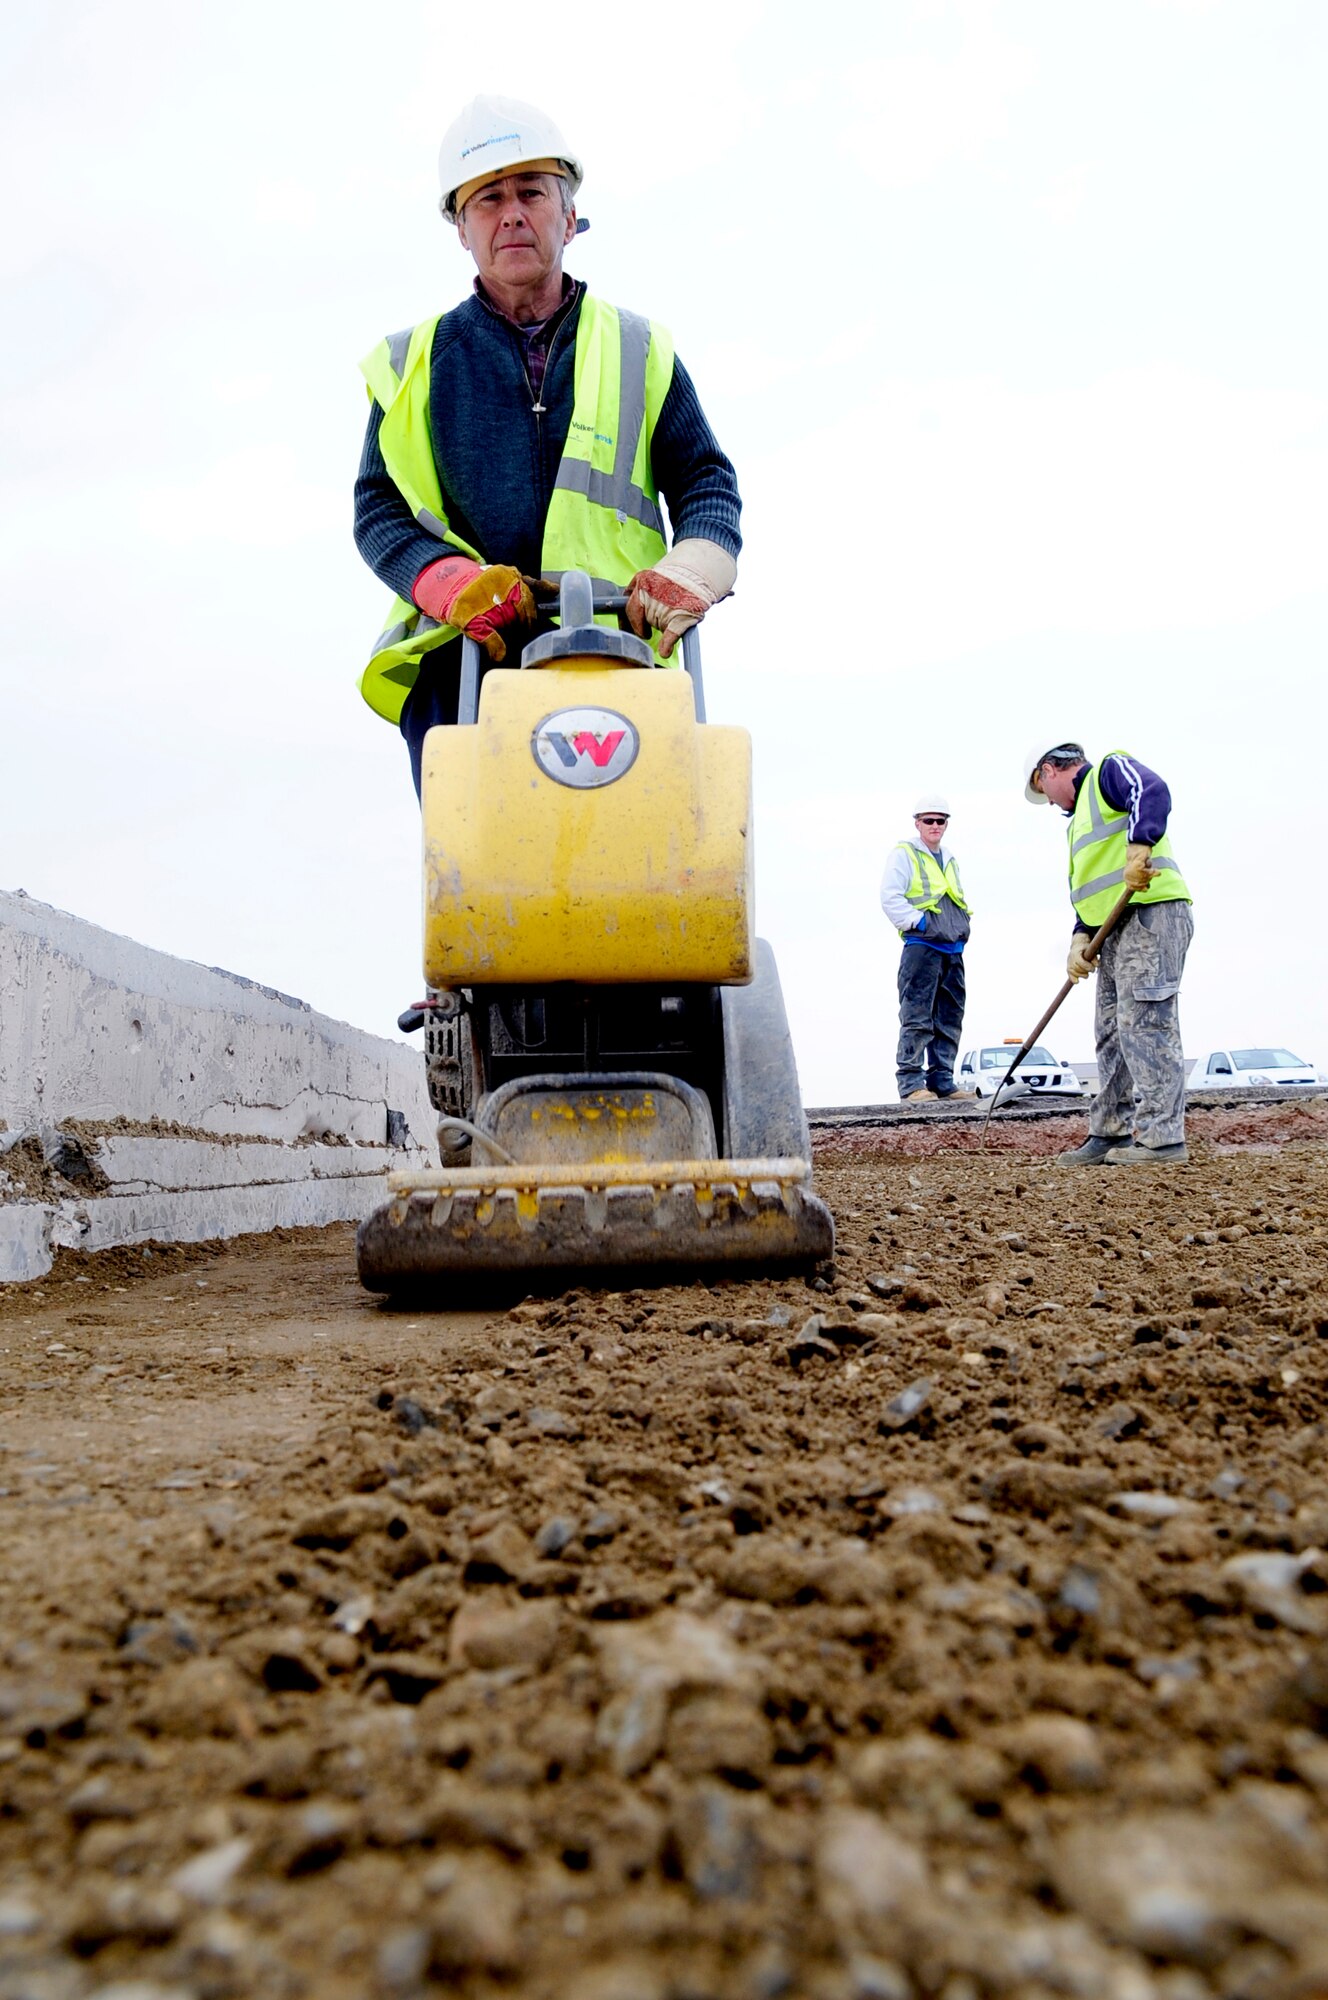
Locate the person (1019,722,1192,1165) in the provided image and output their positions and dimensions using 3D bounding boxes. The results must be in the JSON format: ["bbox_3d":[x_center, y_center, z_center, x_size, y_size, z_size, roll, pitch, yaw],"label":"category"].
[{"bbox_3d":[1.794,-0.152,6.367,0.410,1.543,0.853,-2,0,7],"label":"person"}]

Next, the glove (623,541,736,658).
[{"bbox_3d":[0.030,-0.834,3.364,0.190,0.239,0.255,-2,0,12],"label":"glove"}]

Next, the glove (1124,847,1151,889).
[{"bbox_3d":[1.741,-0.484,6.078,0.109,0.068,0.134,-3,39,9],"label":"glove"}]

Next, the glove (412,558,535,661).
[{"bbox_3d":[-0.389,-0.805,3.354,0.224,0.209,0.285,-1,0,-8],"label":"glove"}]

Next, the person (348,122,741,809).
[{"bbox_3d":[-0.244,-1.190,3.491,0.815,1.437,0.567,-2,0,-9],"label":"person"}]

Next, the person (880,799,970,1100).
[{"bbox_3d":[1.613,-0.287,10.136,0.472,1.780,0.943,-2,0,10],"label":"person"}]

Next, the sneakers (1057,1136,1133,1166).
[{"bbox_3d":[1.733,0.605,6.620,0.302,0.118,0.104,1,-12,-1],"label":"sneakers"}]

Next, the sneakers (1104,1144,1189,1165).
[{"bbox_3d":[1.825,0.590,6.269,0.295,0.114,0.102,1,-10,15],"label":"sneakers"}]
